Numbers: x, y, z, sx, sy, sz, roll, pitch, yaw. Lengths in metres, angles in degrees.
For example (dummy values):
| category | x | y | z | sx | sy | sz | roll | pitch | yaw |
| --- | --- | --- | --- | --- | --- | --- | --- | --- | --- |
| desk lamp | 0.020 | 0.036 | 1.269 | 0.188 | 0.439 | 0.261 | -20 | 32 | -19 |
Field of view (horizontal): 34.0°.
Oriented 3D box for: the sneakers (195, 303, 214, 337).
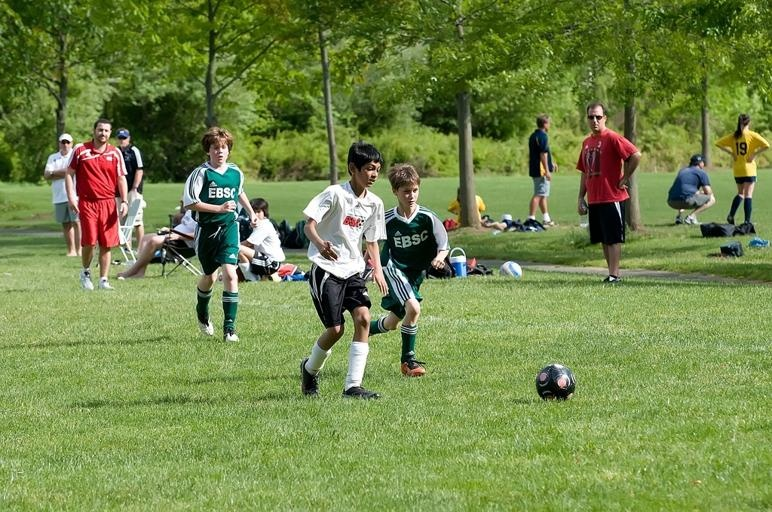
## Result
| category | x | y | z | sx | sy | sz | roll | pitch | yaw |
| --- | --- | --- | --- | --- | --- | --- | --- | --- | --- |
| sneakers | -2.636 | 0.953 | 18.291 | 0.180 | 0.495 | 0.227 | -16 | 11 | -2 |

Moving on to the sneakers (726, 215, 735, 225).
| category | x | y | z | sx | sy | sz | roll | pitch | yaw |
| --- | --- | --- | --- | --- | --- | --- | --- | --- | --- |
| sneakers | 7.484 | -0.774 | 27.177 | 0.158 | 0.199 | 0.203 | -4 | 0 | -8 |

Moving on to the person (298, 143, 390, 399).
| category | x | y | z | sx | sy | sz | roll | pitch | yaw |
| --- | --- | --- | --- | --- | --- | --- | --- | --- | --- |
| person | -0.466 | 0.164 | 15.751 | 0.920 | 3.144 | 1.034 | 3 | 6 | 42 |

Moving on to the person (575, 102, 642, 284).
| category | x | y | z | sx | sy | sz | roll | pitch | yaw |
| --- | --- | --- | --- | --- | --- | --- | --- | --- | --- |
| person | 3.788 | -1.090 | 21.507 | 0.968 | 2.998 | 1.062 | -1 | 5 | 7 |

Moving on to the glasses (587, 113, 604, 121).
| category | x | y | z | sx | sy | sz | roll | pitch | yaw |
| --- | --- | --- | --- | --- | --- | --- | --- | --- | --- |
| glasses | 3.497 | -2.302 | 21.043 | 0.236 | 0.093 | 0.160 | 0 | 5 | 8 |

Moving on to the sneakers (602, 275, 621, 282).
| category | x | y | z | sx | sy | sz | roll | pitch | yaw |
| --- | --- | --- | --- | --- | --- | --- | --- | --- | --- |
| sneakers | 3.809 | 0.381 | 21.263 | 0.276 | 0.106 | 0.335 | 0 | 5 | 8 |

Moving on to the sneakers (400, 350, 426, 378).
| category | x | y | z | sx | sy | sz | roll | pitch | yaw |
| --- | --- | --- | --- | --- | --- | --- | --- | --- | --- |
| sneakers | 0.369 | 1.430 | 16.433 | 0.190 | 0.189 | 0.418 | -1 | -2 | -31 |

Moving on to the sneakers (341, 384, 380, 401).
| category | x | y | z | sx | sy | sz | roll | pitch | yaw |
| --- | --- | --- | --- | --- | --- | --- | --- | --- | --- |
| sneakers | -0.318 | 1.698 | 15.610 | 0.466 | 0.180 | 0.164 | -1 | 0 | 11 |

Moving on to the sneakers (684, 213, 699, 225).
| category | x | y | z | sx | sy | sz | roll | pitch | yaw |
| --- | --- | --- | --- | --- | --- | --- | --- | --- | --- |
| sneakers | 7.160 | -0.859 | 29.387 | 0.193 | 0.245 | 0.553 | 11 | 12 | 36 |

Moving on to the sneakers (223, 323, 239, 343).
| category | x | y | z | sx | sy | sz | roll | pitch | yaw |
| --- | --- | --- | --- | --- | --- | --- | --- | --- | --- |
| sneakers | -2.217 | 1.085 | 17.983 | 0.216 | 0.235 | 0.406 | -2 | 5 | -7 |

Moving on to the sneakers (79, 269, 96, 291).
| category | x | y | z | sx | sy | sz | roll | pitch | yaw |
| --- | --- | --- | --- | --- | --- | --- | --- | --- | --- |
| sneakers | -5.157 | 0.407 | 21.763 | 0.184 | 0.457 | 0.212 | -20 | 5 | -42 |

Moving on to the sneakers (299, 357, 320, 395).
| category | x | y | z | sx | sy | sz | roll | pitch | yaw |
| --- | --- | --- | --- | --- | --- | --- | --- | --- | --- |
| sneakers | -0.992 | 1.519 | 15.791 | 0.175 | 0.486 | 0.226 | 0 | -11 | -38 |

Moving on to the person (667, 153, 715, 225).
| category | x | y | z | sx | sy | sz | roll | pitch | yaw |
| --- | --- | --- | --- | --- | --- | --- | --- | --- | --- |
| person | 7.039 | -1.528 | 29.093 | 0.974 | 1.582 | 1.463 | 0 | 5 | 13 |

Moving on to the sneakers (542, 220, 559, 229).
| category | x | y | z | sx | sy | sz | roll | pitch | yaw |
| --- | --- | --- | --- | --- | --- | --- | --- | --- | --- |
| sneakers | 3.860 | -0.741 | 29.621 | 0.396 | 0.169 | 0.155 | -1 | 6 | -11 |

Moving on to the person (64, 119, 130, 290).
| category | x | y | z | sx | sy | sz | roll | pitch | yaw |
| --- | --- | --- | --- | --- | --- | --- | --- | --- | --- |
| person | -4.965 | -0.876 | 21.558 | 0.993 | 2.881 | 0.769 | -2 | 5 | -14 |

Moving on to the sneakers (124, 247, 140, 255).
| category | x | y | z | sx | sy | sz | roll | pitch | yaw |
| --- | --- | --- | --- | --- | --- | --- | --- | --- | --- |
| sneakers | -5.428 | -0.110 | 26.754 | 0.136 | 0.168 | 0.434 | 5 | -5 | -28 |

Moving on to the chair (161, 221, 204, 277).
| category | x | y | z | sx | sy | sz | roll | pitch | yaw |
| --- | --- | --- | --- | --- | --- | --- | --- | --- | --- |
| chair | -3.830 | -0.216 | 23.742 | 0.922 | 1.145 | 0.891 | -1 | 1 | -21 |
